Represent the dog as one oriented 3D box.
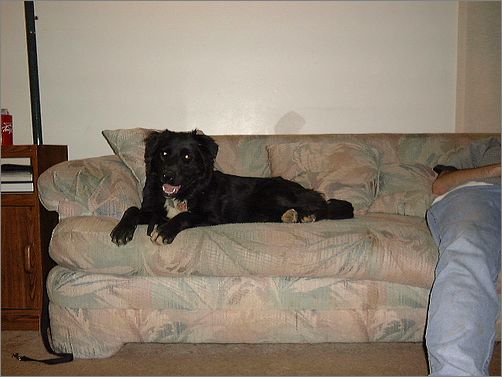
[{"bbox_3d":[-0.198,-0.004,4.923,1.479,0.604,0.926,-1,-9,-30],"label":"dog"}]
